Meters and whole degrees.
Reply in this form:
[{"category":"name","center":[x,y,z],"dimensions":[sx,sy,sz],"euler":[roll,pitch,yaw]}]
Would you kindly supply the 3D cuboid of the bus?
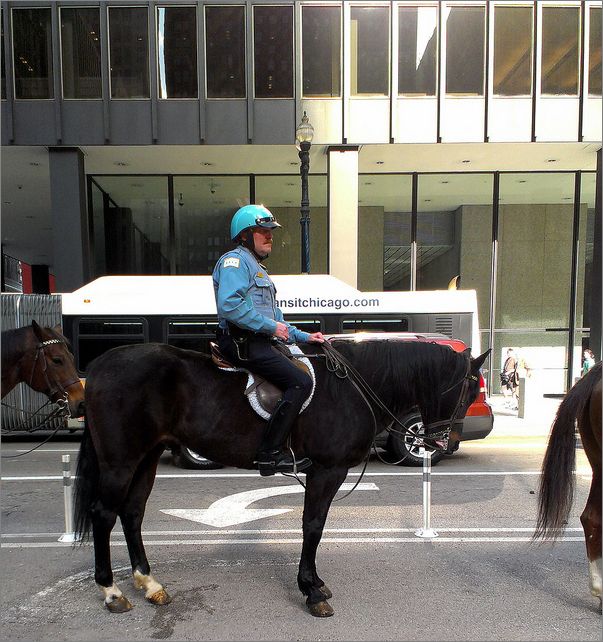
[{"category":"bus","center":[-1.267,1.022,26.974],"dimensions":[11.243,5.726,3.883],"euler":[0,-1,-2]}]
